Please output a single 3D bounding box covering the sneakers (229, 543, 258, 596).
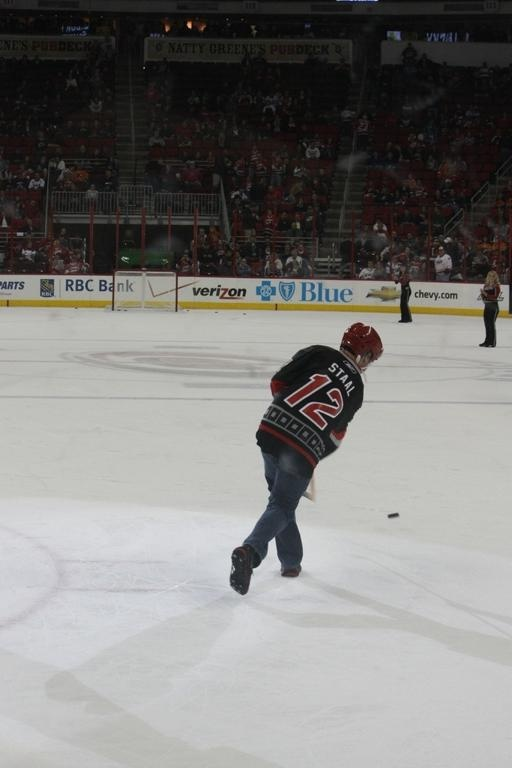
[{"bbox_3d":[-0.036,0.766,3.649,0.088,0.225,0.116,13,36,28],"label":"sneakers"}]

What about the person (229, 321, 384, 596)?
[{"bbox_3d":[0.184,0.325,3.847,0.392,1.146,0.809,9,11,38],"label":"person"}]
